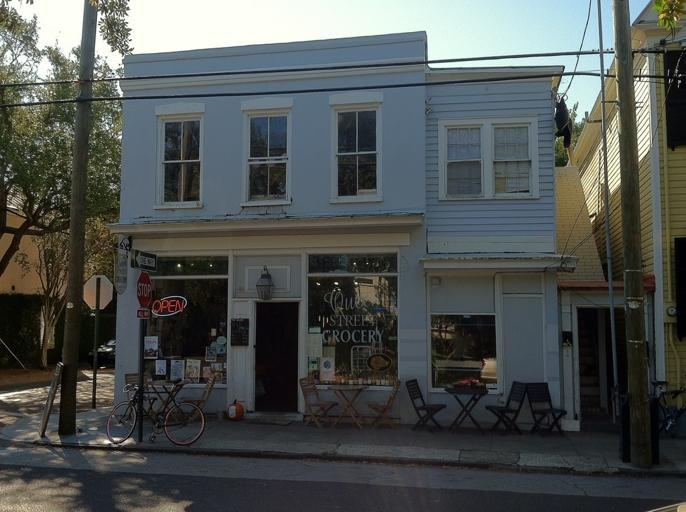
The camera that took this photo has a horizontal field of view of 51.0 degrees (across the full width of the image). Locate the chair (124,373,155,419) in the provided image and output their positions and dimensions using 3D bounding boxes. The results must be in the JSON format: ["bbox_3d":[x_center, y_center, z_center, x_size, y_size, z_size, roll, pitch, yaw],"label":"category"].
[{"bbox_3d":[-5.007,3.376,17.769,0.734,0.908,0.798,2,-6,1],"label":"chair"}]

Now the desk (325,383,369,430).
[{"bbox_3d":[0.073,3.673,17.777,0.891,0.949,0.889,1,-12,5],"label":"desk"}]

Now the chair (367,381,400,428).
[{"bbox_3d":[1.009,3.626,17.762,0.719,1.092,0.751,-1,-5,3],"label":"chair"}]

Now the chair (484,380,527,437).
[{"bbox_3d":[3.904,3.604,17.168,0.898,1.203,0.836,-2,-8,12],"label":"chair"}]

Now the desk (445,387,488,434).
[{"bbox_3d":[2.937,3.653,17.331,0.946,0.947,0.972,0,-11,5],"label":"desk"}]

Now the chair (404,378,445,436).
[{"bbox_3d":[1.990,3.589,17.364,0.865,1.190,0.780,-2,1,12],"label":"chair"}]

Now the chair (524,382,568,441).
[{"bbox_3d":[4.727,3.577,16.887,0.593,1.127,0.785,0,-4,-14],"label":"chair"}]

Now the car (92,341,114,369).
[{"bbox_3d":[-10.678,4.432,32.659,0.696,1.288,2.615,3,-9,-19],"label":"car"}]

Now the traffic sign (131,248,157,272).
[{"bbox_3d":[-4.907,0.107,17.859,0.560,0.675,1.486,3,-9,-18],"label":"traffic sign"}]

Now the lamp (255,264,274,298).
[{"bbox_3d":[-1.992,0.687,18.595,0.450,0.899,0.331,1,-8,-4],"label":"lamp"}]

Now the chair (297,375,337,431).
[{"bbox_3d":[-0.610,3.585,17.753,0.740,1.018,0.796,-1,-3,13],"label":"chair"}]
